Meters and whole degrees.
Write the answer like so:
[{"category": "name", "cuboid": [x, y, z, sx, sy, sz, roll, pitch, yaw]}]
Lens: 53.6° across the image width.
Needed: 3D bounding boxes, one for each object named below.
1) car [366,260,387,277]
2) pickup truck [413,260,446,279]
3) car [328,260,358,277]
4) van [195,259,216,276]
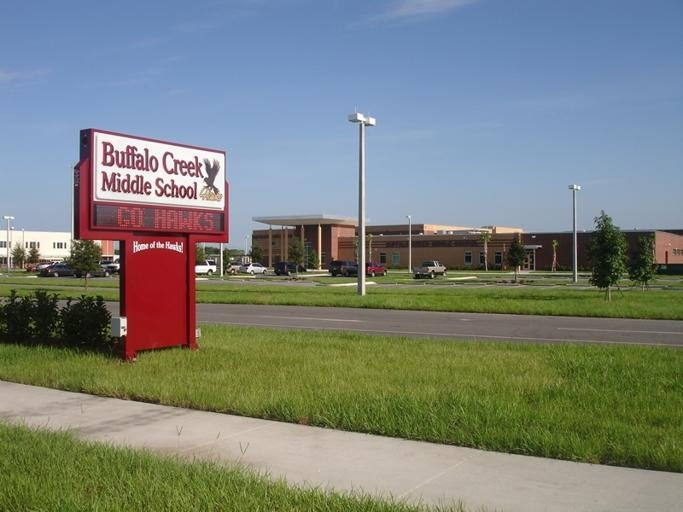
[{"category": "car", "cuboid": [3.774, 1.278, 68.538, 2.723, 1.154, 1.285, -4, 3, -13]}, {"category": "pickup truck", "cuboid": [8.649, 1.255, 65.032, 1.490, 1.301, 3.421, 0, 2, 36]}, {"category": "car", "cuboid": [0.643, 1.176, 69.570, 1.441, 1.045, 2.483, 2, 4, 43]}, {"category": "van", "cuboid": [-14.969, 1.229, 74.508, 1.550, 1.421, 3.420, -5, -8, 40]}]
